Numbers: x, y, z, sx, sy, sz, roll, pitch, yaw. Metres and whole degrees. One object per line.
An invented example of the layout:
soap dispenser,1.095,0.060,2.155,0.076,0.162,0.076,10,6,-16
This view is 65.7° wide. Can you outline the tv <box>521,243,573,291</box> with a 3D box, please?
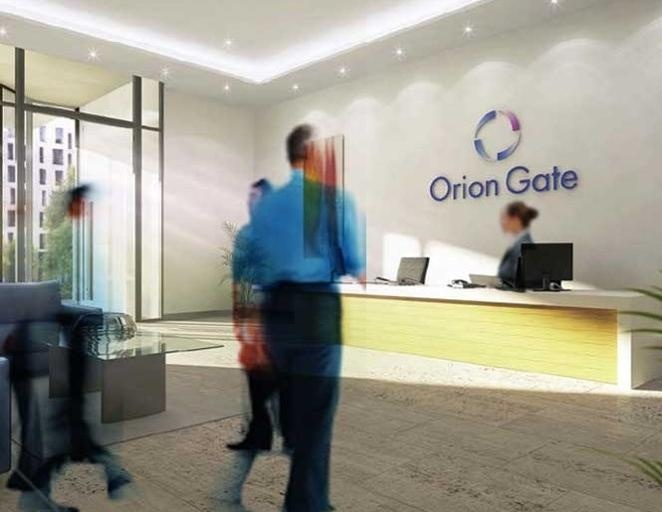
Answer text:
tv,2.204,0.101,5.274,0.436,0.437,0.145,1,7,14
